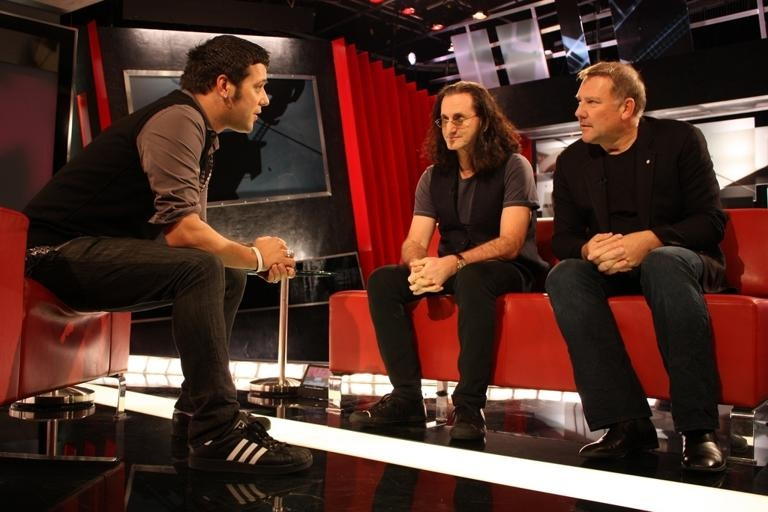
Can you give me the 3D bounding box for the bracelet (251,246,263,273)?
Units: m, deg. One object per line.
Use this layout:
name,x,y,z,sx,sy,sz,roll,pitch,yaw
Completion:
bracelet,-0.483,0.017,2.200,0.029,0.077,0.070,-2,-7,-16

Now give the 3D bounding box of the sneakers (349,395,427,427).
sneakers,0.010,0.707,2.630,0.356,0.133,0.137,2,-6,-9

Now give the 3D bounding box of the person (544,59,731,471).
person,1.008,-0.051,2.372,0.690,1.659,0.552,1,-1,29

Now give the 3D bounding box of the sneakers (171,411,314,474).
sneakers,-0.488,0.672,2.095,0.507,0.202,0.173,0,-5,-4

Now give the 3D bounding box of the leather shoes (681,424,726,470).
leather shoes,1.151,0.692,2.068,0.133,0.142,0.120,1,0,27

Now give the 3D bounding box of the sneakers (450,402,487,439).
sneakers,0.347,0.686,2.392,0.146,0.137,0.152,1,0,7
